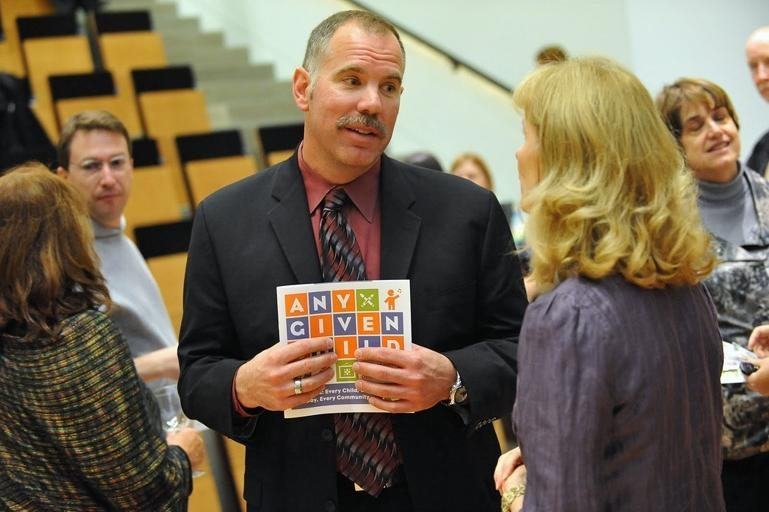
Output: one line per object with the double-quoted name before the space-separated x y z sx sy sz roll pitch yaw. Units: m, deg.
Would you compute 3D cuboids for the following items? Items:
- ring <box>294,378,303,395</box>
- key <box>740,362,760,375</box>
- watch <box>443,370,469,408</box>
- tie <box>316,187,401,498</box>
"ring" -0.251 0.377 2.231 0.019 0.044 0.045 -1 -2 2
"key" 1.274 0.392 2.681 0.046 0.046 0.015 -32 0 7
"watch" 0.222 0.405 2.336 0.068 0.101 0.093 2 35 -4
"tie" -0.087 0.258 2.429 0.195 0.958 0.269 -5 6 -5
